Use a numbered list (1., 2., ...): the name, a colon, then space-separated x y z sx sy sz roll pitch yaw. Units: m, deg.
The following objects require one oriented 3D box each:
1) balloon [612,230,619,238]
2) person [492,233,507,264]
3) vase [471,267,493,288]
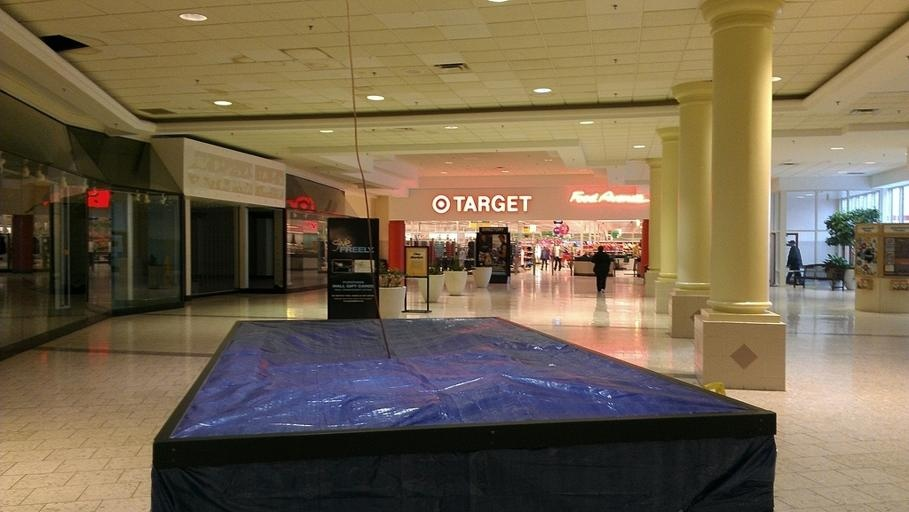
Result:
1. balloon: 12.123 -1.623 42.682 0.489 0.631 0.655 4 9 9
2. person: 2.002 -0.319 24.682 0.638 1.210 0.165 3 11 3
3. vase: 1.094 0.841 22.639 0.648 0.798 0.579 1 10 -4
